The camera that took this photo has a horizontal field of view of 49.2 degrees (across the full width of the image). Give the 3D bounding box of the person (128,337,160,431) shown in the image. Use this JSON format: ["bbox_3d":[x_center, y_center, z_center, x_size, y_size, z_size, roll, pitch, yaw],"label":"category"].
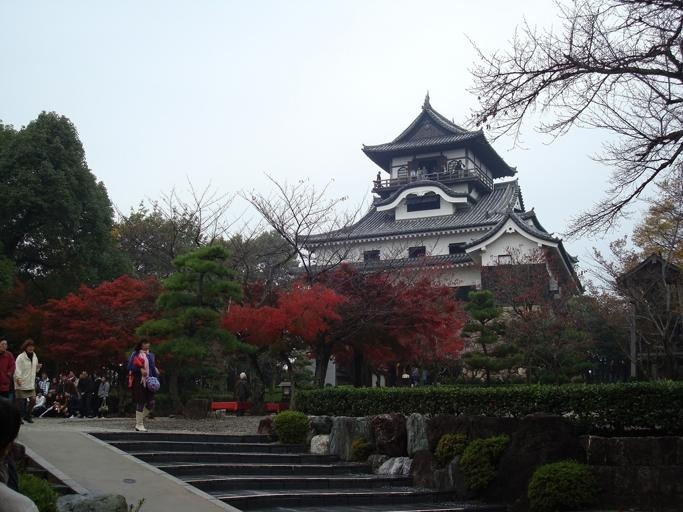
[{"bbox_3d":[-4.881,3.227,18.360,0.729,2.177,0.822,3,-15,-16],"label":"person"}]

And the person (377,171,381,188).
[{"bbox_3d":[2.589,-5.249,52.527,0.362,1.270,0.752,-2,-14,6],"label":"person"}]

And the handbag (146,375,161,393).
[{"bbox_3d":[-4.640,3.176,18.372,0.300,0.363,0.565,2,-15,-9],"label":"handbag"}]

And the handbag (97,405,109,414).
[{"bbox_3d":[-8.888,5.776,27.889,0.312,0.305,0.443,-1,-7,7],"label":"handbag"}]
